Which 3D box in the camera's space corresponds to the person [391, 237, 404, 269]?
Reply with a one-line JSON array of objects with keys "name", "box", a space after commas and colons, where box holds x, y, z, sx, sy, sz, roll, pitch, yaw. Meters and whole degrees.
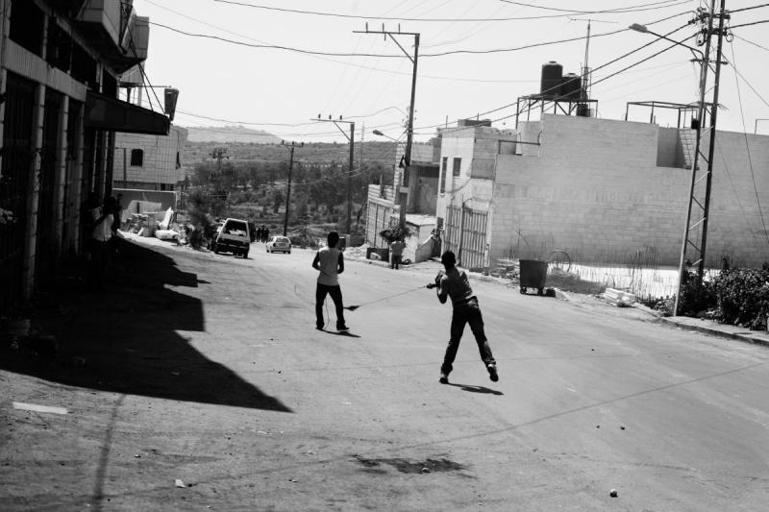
[{"name": "person", "box": [0.747, -0.080, 42.536, 0.728, 1.545, 1.749, 5, 5, 1]}]

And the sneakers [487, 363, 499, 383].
[{"name": "sneakers", "box": [1.988, 2.146, 12.941, 0.150, 0.443, 0.183, -9, 10, 25]}]

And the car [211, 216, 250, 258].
[{"name": "car", "box": [-8.796, -1.083, 41.085, 2.535, 2.056, 1.299, 10, 8, 43]}]

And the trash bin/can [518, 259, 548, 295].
[{"name": "trash bin/can", "box": [6.278, 0.876, 29.868, 1.173, 1.422, 1.140, 6, 5, 13]}]

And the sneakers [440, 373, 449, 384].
[{"name": "sneakers", "box": [1.090, 2.280, 13.072, 0.168, 0.206, 0.173, -1, -4, 0]}]
